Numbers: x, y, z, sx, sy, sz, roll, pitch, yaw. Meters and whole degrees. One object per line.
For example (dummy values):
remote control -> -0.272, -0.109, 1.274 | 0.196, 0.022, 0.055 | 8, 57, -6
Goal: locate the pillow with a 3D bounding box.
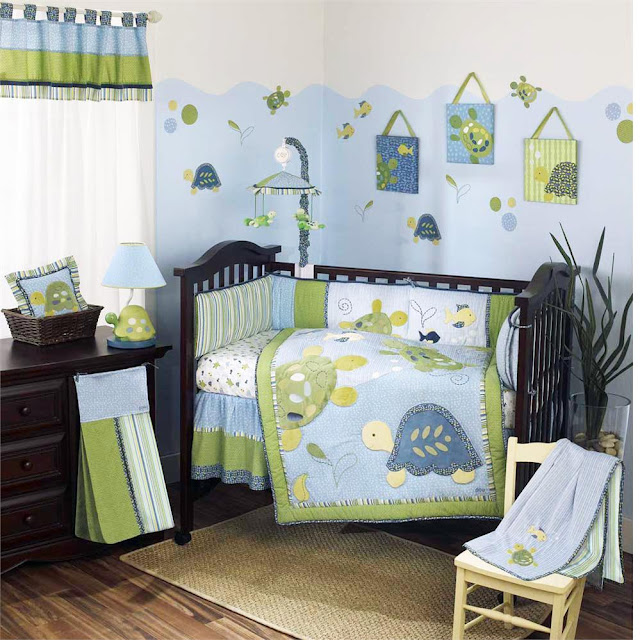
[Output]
pillow -> 0.648, 0.094, 2.285 | 0.087, 0.296, 0.199 | 0, 8, 0

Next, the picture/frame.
picture/frame -> -1.083, -0.135, 2.685 | 0.238, 0.182, 0.037 | -18, -6, -40

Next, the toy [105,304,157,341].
toy -> -0.740, -0.001, 2.676 | 0.173, 0.096, 0.146 | 2, 7, 32

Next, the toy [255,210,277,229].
toy -> -0.285, -0.493, 3.365 | 0.098, 0.041, 0.108 | -23, 29, -31

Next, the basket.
basket -> -1.031, 0.027, 2.693 | 0.191, 0.099, 0.259 | 7, 9, 42
